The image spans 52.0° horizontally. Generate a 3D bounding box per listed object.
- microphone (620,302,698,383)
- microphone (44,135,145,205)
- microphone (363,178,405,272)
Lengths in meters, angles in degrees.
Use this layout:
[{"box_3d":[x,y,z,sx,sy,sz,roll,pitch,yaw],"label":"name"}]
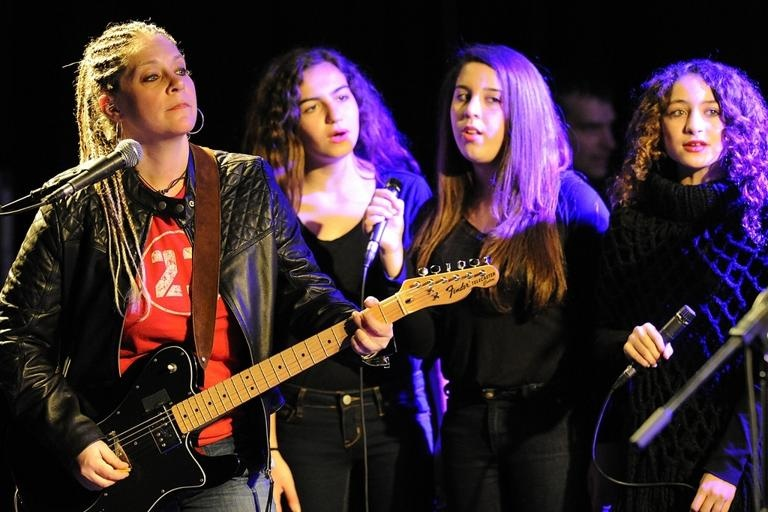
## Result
[{"box_3d":[1.236,0.394,3.489,0.077,0.465,0.062,48,28,23],"label":"microphone"},{"box_3d":[-1.117,-0.349,3.338,0.590,0.142,0.159,-25,0,-33],"label":"microphone"},{"box_3d":[0.002,-0.125,3.767,0.070,0.489,0.068,20,-10,9],"label":"microphone"}]
